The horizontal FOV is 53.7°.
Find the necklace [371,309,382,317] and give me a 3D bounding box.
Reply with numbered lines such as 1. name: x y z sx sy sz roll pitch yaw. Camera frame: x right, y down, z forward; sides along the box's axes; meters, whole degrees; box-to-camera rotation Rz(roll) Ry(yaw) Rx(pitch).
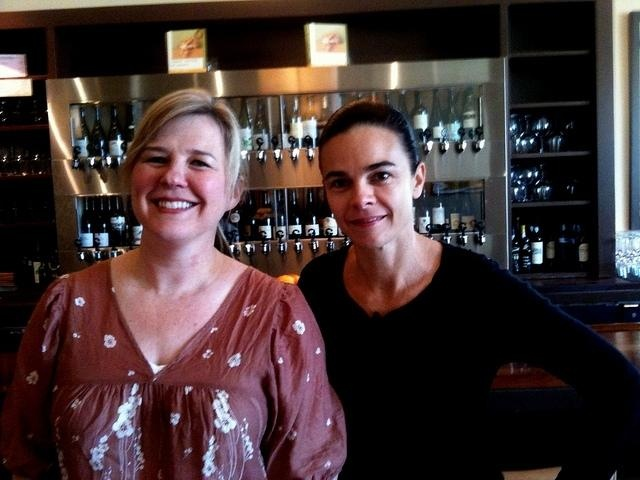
1. necklace: 0.228 0.287 2.516 0.026 0.025 0.009 -6 -9 21
